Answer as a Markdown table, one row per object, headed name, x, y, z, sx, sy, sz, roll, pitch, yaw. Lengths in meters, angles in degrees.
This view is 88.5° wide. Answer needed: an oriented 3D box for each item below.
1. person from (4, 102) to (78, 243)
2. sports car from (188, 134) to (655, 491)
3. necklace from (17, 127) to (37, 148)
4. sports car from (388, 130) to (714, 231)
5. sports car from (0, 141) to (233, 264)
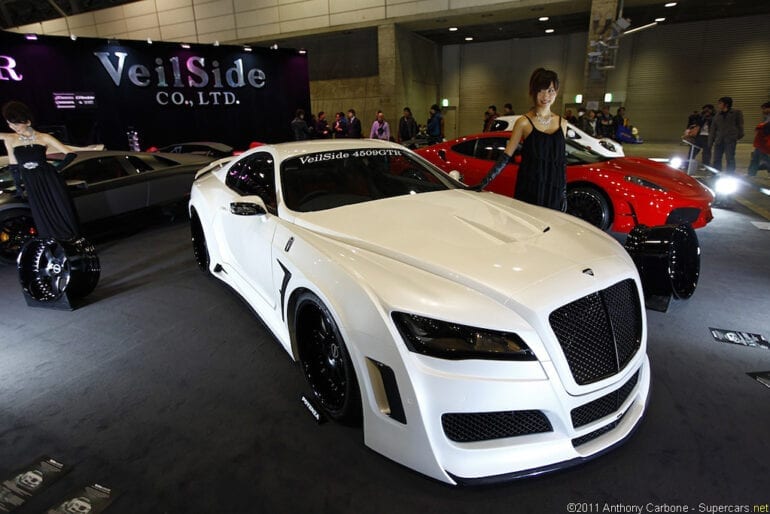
| name | x | y | z | sx | sy | sz | roll | pitch | yaw |
| --- | --- | --- | --- | --- | --- | --- | --- | --- | --- |
| person | -4.587 | -1.107 | 5.220 | 0.741 | 1.733 | 0.423 | 0 | 23 | 3 |
| sports car | -0.097 | 0.126 | 3.401 | 2.079 | 1.162 | 3.600 | -10 | 23 | -29 |
| necklace | -4.629 | -1.537 | 5.112 | 0.209 | 0.222 | 0.064 | 1 | 17 | -16 |
| sports car | 2.653 | -1.255 | 6.236 | 3.897 | 1.138 | 2.228 | 14 | 30 | 30 |
| sports car | -4.237 | -1.133 | 6.544 | 1.739 | 0.864 | 3.113 | 13 | 23 | 35 |
